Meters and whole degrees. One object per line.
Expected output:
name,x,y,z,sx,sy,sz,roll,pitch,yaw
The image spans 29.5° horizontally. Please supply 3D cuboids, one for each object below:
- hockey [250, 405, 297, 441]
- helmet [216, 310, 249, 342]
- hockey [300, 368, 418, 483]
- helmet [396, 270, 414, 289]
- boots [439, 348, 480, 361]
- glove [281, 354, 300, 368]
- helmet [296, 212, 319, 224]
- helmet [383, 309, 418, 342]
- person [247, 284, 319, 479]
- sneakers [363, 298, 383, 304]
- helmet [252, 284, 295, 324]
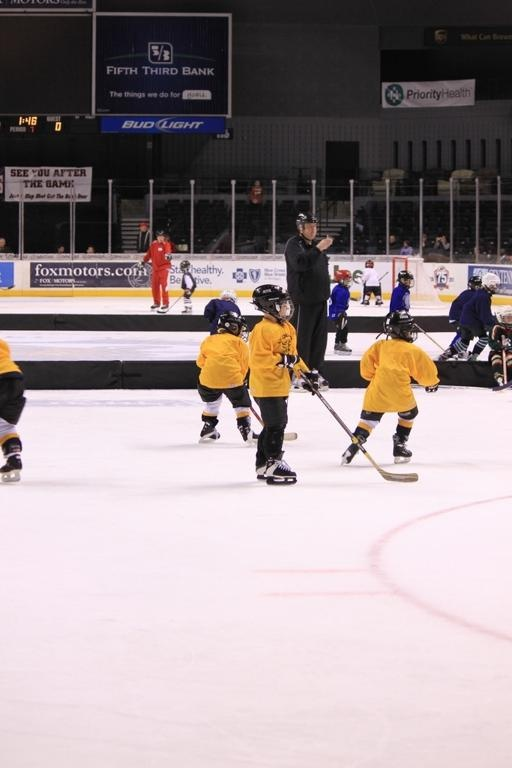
hockey,0.116,0.240,5.877,0.074,0.264,0.200,-19,25,-23
helmet,-0.116,-0.332,5.693,0.200,0.173,0.161,-7,21,-36
hockey,0.448,0.183,5.182,0.222,0.171,1.463,-5,29,-17
helmet,1.581,-1.076,10.058,0.208,0.190,0.163,-3,7,2
boots,2.086,-0.294,9.899,0.391,0.152,0.114,-9,22,5
glove,0.167,-0.110,4.717,0.066,0.078,0.155,2,6,18
helmet,0.378,-1.229,7.222,0.106,0.077,0.138,-5,7,-30
helmet,0.827,-0.330,5.330,0.155,0.175,0.182,11,-15,-14
person,0.132,-0.016,4.854,0.332,0.946,0.676,0,7,3
sneakers,2.423,-1.704,20.016,0.369,0.128,0.122,0,-2,-4
helmet,0.098,-0.403,4.869,0.220,0.186,0.172,-7,12,-10
